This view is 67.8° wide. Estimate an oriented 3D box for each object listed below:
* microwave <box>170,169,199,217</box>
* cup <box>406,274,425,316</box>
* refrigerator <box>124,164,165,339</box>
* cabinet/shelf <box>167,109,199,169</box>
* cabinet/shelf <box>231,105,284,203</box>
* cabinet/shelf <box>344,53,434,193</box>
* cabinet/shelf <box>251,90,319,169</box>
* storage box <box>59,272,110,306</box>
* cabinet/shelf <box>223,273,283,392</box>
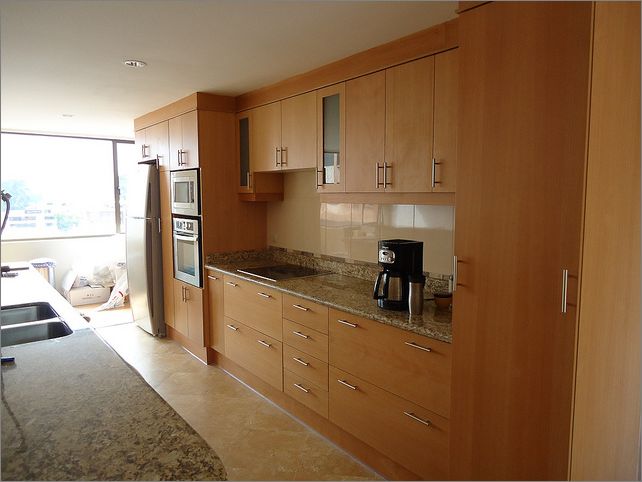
[{"bbox_3d":[-1.342,-0.496,4.735,0.227,0.404,0.445,-2,4,-35],"label":"microwave"},{"bbox_3d":[0.574,0.323,2.872,0.092,0.246,0.065,0,9,-1],"label":"cup"},{"bbox_3d":[-2.032,0.092,5.492,0.281,2.026,0.611,-6,12,-35],"label":"refrigerator"},{"bbox_3d":[-1.312,-0.976,4.789,0.606,0.577,0.226,9,12,44],"label":"cabinet/shelf"},{"bbox_3d":[-0.575,-0.836,4.396,0.274,0.864,0.790,-3,6,-35],"label":"cabinet/shelf"},{"bbox_3d":[0.467,-0.789,3.145,0.291,0.932,0.883,-3,5,-38],"label":"cabinet/shelf"},{"bbox_3d":[-0.294,-0.865,4.151,0.760,0.519,0.262,1,5,32],"label":"cabinet/shelf"},{"bbox_3d":[-3.412,0.606,6.939,0.517,0.539,0.498,-5,6,-43],"label":"storage box"},{"bbox_3d":[-0.554,0.748,3.982,0.433,0.864,0.851,-3,7,-38],"label":"cabinet/shelf"}]
